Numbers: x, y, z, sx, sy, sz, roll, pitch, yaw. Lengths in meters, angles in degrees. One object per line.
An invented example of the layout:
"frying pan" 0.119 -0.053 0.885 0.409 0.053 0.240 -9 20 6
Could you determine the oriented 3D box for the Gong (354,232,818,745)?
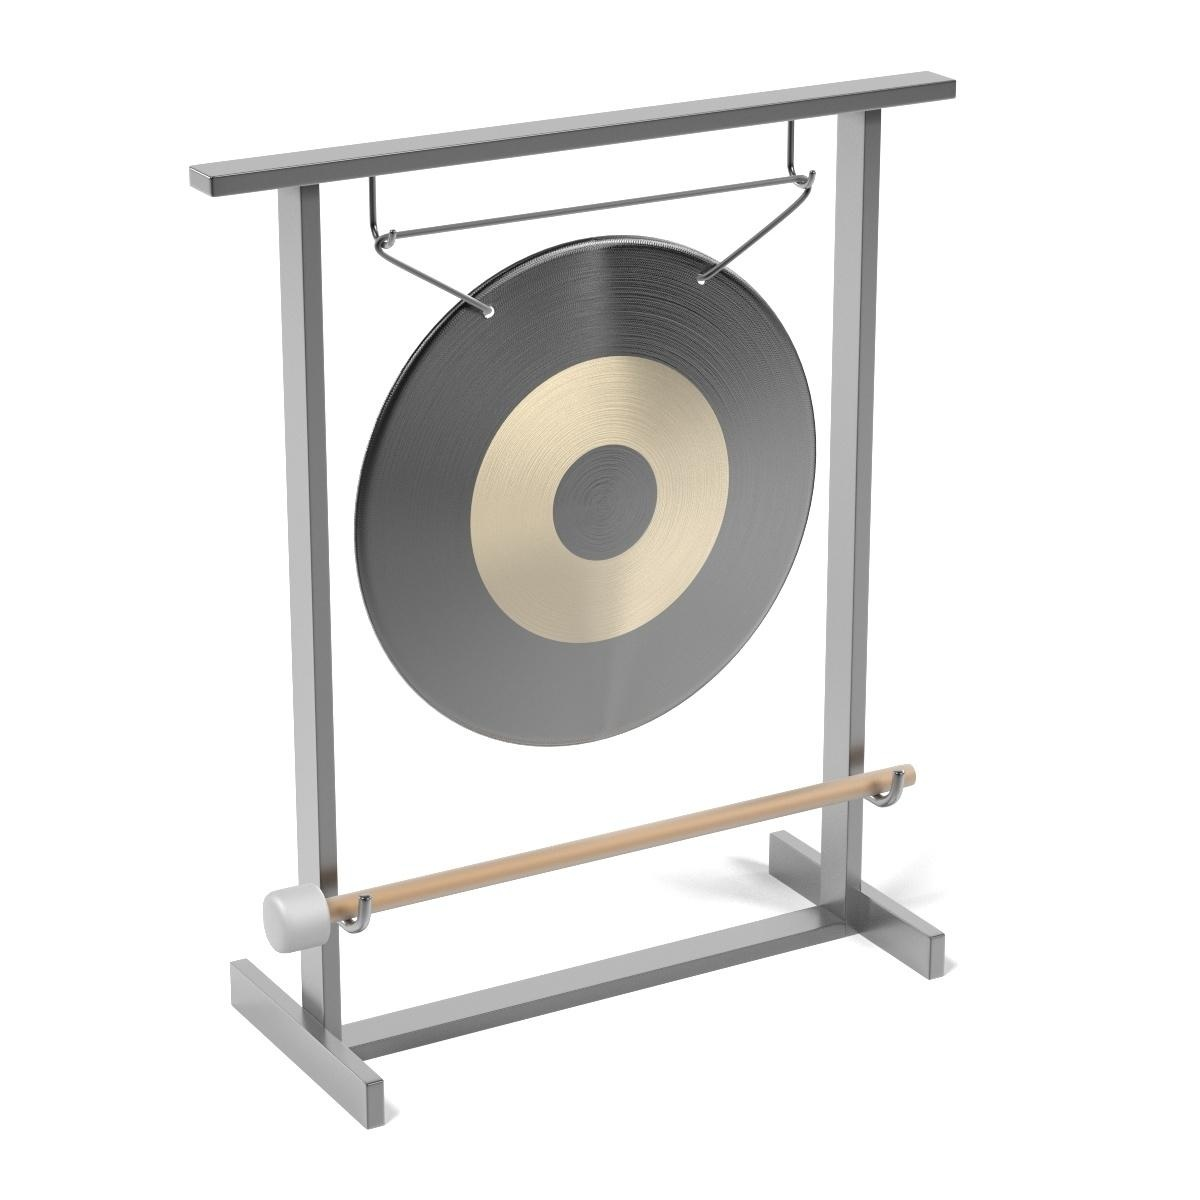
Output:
"Gong" -0.032 -0.184 2.271 0.906 0.039 0.776 -18 -48 -20
